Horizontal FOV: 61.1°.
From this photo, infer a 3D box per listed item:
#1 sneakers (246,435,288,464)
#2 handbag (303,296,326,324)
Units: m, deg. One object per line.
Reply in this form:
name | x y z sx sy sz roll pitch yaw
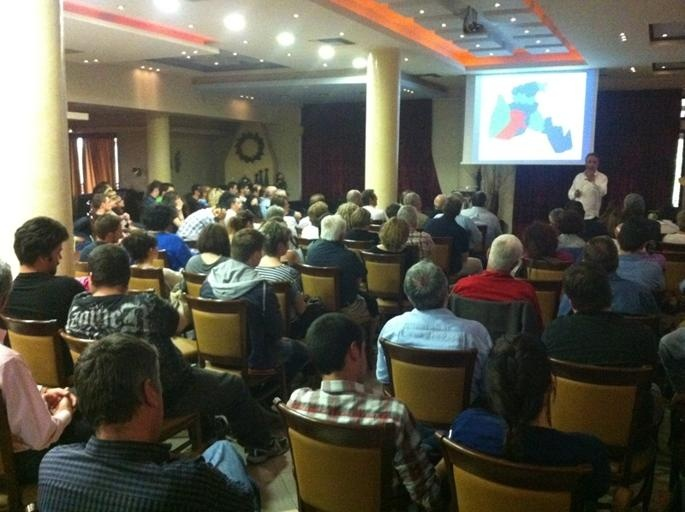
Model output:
sneakers | -0.464 1.183 3.540 0.243 0.116 0.121 -6 9 -36
handbag | -0.229 0.421 4.562 0.140 0.088 0.185 0 7 -31
